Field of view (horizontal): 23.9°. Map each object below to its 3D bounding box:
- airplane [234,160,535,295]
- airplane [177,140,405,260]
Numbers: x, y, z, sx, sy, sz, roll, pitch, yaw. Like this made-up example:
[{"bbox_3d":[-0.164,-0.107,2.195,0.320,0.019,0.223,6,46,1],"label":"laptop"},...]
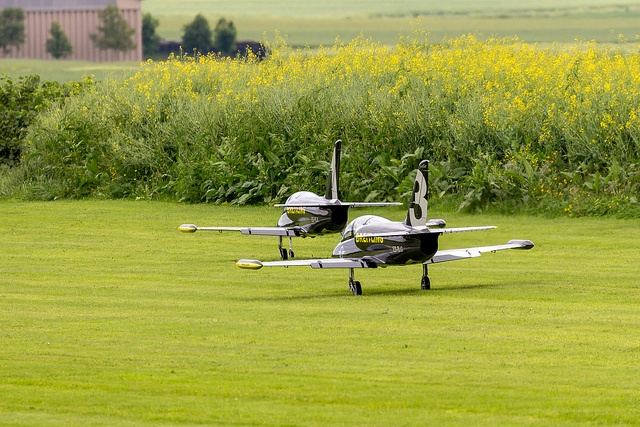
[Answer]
[{"bbox_3d":[1.563,0.827,44.266,7.216,2.572,4.593,-4,3,-31],"label":"airplane"},{"bbox_3d":[-1.070,-0.003,48.251,5.589,2.229,4.604,-2,3,-26],"label":"airplane"}]
